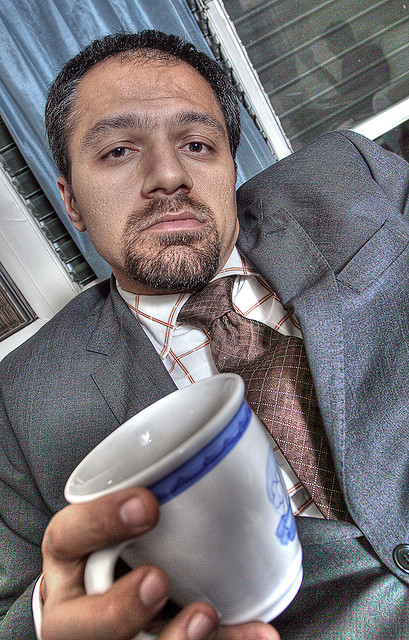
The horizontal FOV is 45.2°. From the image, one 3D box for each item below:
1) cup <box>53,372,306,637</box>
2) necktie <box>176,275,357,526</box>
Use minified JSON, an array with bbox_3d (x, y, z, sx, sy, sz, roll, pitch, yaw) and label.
[{"bbox_3d":[-0.016,0.132,0.363,0.156,0.175,0.143,-10,47,11],"label":"cup"},{"bbox_3d":[0.097,0.105,0.815,0.156,0.090,0.374,-34,59,9],"label":"necktie"}]
